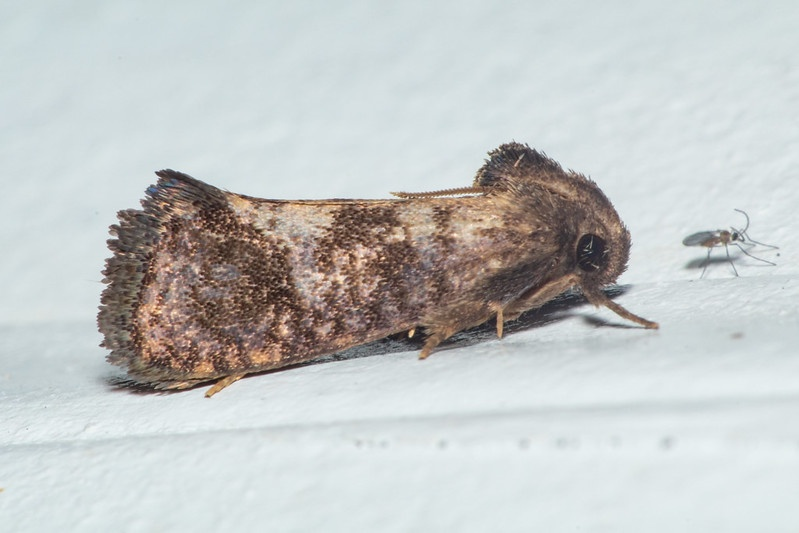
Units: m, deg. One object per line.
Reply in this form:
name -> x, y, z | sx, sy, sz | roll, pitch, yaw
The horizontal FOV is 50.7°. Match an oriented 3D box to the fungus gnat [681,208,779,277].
fungus gnat -> 2.266, -0.174, 5.826 | 0.801, 0.398, 0.548 | -6, 7, -12

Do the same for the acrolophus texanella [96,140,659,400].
acrolophus texanella -> -0.372, 0.021, 5.186 | 3.738, 1.032, 1.333 | -2, 35, 0
